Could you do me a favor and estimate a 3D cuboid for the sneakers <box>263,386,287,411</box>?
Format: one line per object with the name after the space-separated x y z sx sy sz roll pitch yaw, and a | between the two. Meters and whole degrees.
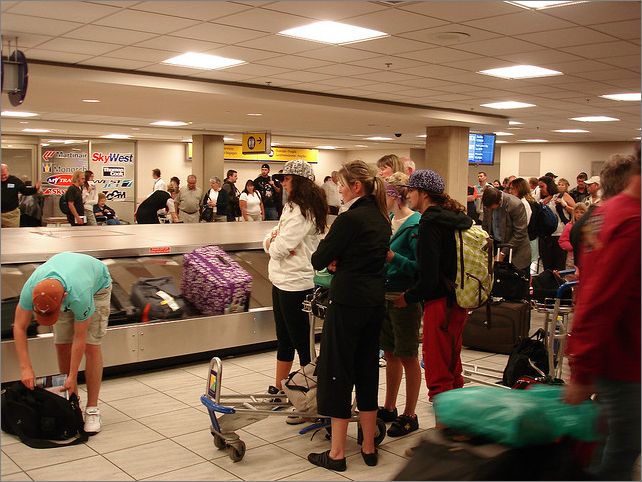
-0.339 1.183 3.376 0.105 0.116 0.293 0 -2 -5 | sneakers

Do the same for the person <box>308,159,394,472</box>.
0.194 0.467 2.901 0.535 1.982 0.375 0 6 -14 | person

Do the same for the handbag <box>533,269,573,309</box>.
2.110 0.434 4.165 0.416 0.347 0.278 -5 8 -8 | handbag

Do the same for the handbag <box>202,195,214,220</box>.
-3.126 -0.916 12.385 0.386 0.861 0.669 -1 7 -20 | handbag

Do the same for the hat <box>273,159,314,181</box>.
-0.204 -0.579 3.609 0.239 0.191 0.499 0 5 -10 | hat

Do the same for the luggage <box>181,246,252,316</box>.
-1.289 0.499 4.823 0.803 0.525 0.410 4 -8 -17 | luggage

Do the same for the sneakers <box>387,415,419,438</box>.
0.606 1.359 3.337 0.292 0.115 0.109 2 -4 -33 | sneakers

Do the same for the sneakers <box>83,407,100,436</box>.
-1.658 1.308 3.238 0.083 0.096 0.232 1 -1 -20 | sneakers

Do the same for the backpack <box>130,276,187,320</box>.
-1.685 0.599 4.697 0.498 0.208 0.611 -11 35 -39 | backpack

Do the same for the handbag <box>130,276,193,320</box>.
-1.705 0.594 4.703 0.504 0.228 0.629 -5 33 -46 | handbag

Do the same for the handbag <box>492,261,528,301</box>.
2.130 0.466 5.084 0.479 0.407 0.244 8 16 33 | handbag

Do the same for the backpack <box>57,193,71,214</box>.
-6.124 -0.873 10.665 0.179 0.496 0.538 -2 6 -33 | backpack

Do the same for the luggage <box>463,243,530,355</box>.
2.078 0.768 5.323 0.633 1.019 0.817 -20 19 -34 | luggage

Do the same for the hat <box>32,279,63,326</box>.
-1.735 0.386 2.846 0.181 0.294 0.134 -2 6 -29 | hat

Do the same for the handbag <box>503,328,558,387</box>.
1.659 0.992 3.601 0.333 0.361 0.416 4 6 26 | handbag

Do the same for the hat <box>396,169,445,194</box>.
0.716 -0.415 3.117 0.234 0.109 0.156 16 7 10 | hat

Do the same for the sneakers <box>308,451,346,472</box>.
0.038 1.407 2.904 0.254 0.098 0.095 3 2 39 | sneakers

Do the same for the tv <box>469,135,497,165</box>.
4.986 -2.947 14.314 1.644 1.041 0.158 -6 13 -32 | tv
